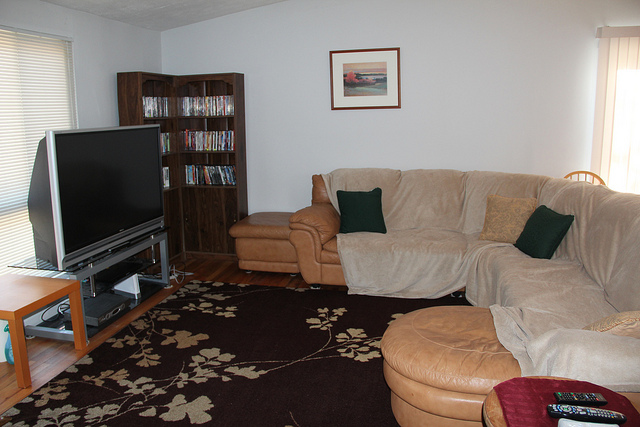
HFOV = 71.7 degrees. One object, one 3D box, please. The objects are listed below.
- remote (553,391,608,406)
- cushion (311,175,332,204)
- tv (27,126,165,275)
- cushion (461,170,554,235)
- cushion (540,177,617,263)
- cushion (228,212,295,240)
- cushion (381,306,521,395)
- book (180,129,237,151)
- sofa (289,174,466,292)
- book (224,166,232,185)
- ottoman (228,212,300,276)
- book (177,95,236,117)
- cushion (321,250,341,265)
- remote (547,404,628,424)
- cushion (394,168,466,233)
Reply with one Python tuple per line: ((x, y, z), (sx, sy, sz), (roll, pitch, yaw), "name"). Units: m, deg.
((1.374, 0.961, 2.323), (0.209, 0.028, 0.091), (-2, 7, 5), "remote")
((-0.005, -0.301, 5.423), (0.130, 0.283, 0.325), (5, -2, -38), "cushion")
((-2.251, -0.241, 4.390), (0.574, 1.216, 1.542), (5, 14, 10), "tv")
((1.945, -0.142, 5.019), (0.892, 0.777, 0.257), (4, -5, 38), "cushion")
((2.417, 0.051, 4.260), (0.240, 0.729, 0.765), (12, 7, -18), "cushion")
((-0.656, 0.081, 5.491), (0.854, 0.296, 0.673), (2, 10, 7), "cushion")
((0.924, 0.889, 3.224), (0.766, 0.415, 0.844), (2, 8, 15), "cushion")
((-1.462, -0.954, 5.724), (0.765, 0.271, 0.141), (3, 15, 16), "book")
((0.658, 0.206, 5.114), (1.877, 1.233, 1.043), (1, 15, 11), "sofa")
((-1.206, -0.500, 5.763), (0.092, 0.235, 0.024), (5, 16, 23), "book")
((-0.394, 0.342, 5.564), (1.069, 0.635, 1.085), (-14, 10, -43), "ottoman")
((-1.485, -1.378, 5.680), (0.750, 0.249, 0.086), (2, 15, 10), "book")
((0.110, 0.482, 4.812), (0.252, 0.163, 0.138), (1, 4, 9), "cushion")
((1.331, 1.004, 2.219), (0.420, 0.063, 0.126), (-1, 5, 11), "remote")
((1.308, -0.156, 5.212), (1.006, 0.689, 0.676), (5, 9, 14), "cushion")
